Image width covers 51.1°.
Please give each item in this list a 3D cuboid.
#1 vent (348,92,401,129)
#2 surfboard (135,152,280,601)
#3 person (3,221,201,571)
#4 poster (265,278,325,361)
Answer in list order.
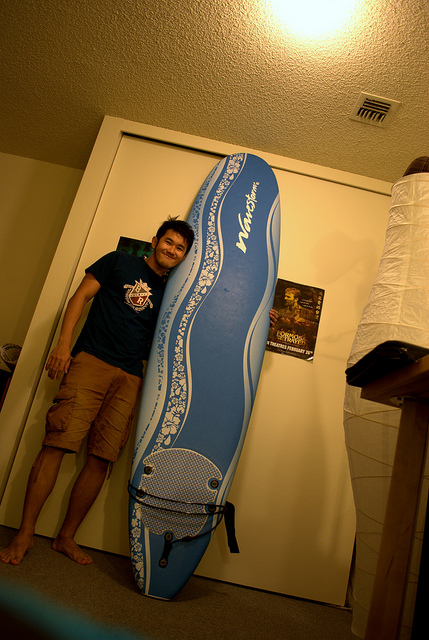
[{"bbox_3d":[0.712,-0.937,1.983,0.130,0.020,0.124,16,-27,5],"label":"vent"},{"bbox_3d":[0.000,0.052,1.894,0.396,1.955,0.142,12,-27,0],"label":"surfboard"},{"bbox_3d":[-0.399,0.184,1.734,0.461,1.435,0.480,17,-4,-19],"label":"person"},{"bbox_3d":[0.374,0.013,2.132,0.288,0.421,0.041,12,-18,2],"label":"poster"}]
